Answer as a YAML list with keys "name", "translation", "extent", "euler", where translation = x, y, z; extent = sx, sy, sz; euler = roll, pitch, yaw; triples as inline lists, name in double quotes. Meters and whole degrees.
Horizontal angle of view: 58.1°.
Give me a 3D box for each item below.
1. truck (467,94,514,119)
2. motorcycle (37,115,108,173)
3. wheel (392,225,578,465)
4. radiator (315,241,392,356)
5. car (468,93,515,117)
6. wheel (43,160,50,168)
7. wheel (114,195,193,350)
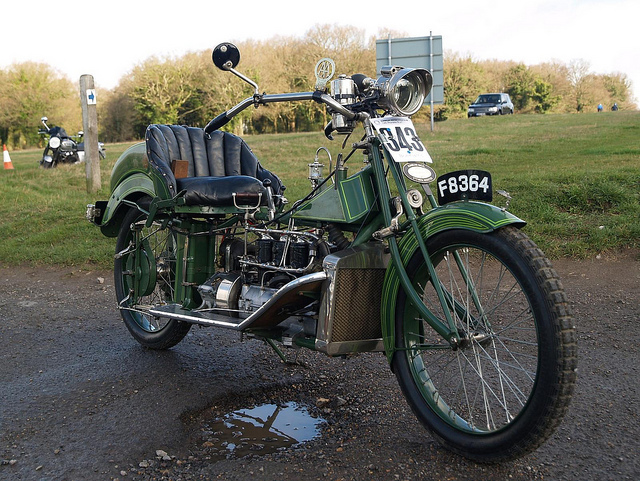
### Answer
- name: "truck"
  translation: [8.991, -6.887, 29.977]
  extent: [1.874, 1.406, 2.918]
  euler: [2, 4, 38]
- name: "motorcycle"
  translation: [-7.460, -2.785, 17.231]
  extent: [1.359, 1.554, 2.507]
  euler: [11, 15, 16]
- name: "wheel"
  translation: [1.038, 0.728, 3.751]
  extent: [0.266, 1.372, 1.202]
  euler: [-5, 12, -38]
- name: "radiator"
  translation: [0.239, 0.399, 3.896]
  extent: [0.203, 0.804, 0.709]
  euler: [9, 7, 43]
- name: "car"
  translation: [8.878, -6.893, 29.729]
  extent: [1.529, 1.208, 2.377]
  euler: [1, 4, 38]
- name: "wheel"
  translation: [-7.988, -2.209, 16.835]
  extent: [0.177, 0.193, 0.185]
  euler: [2, -5, 0]
- name: "wheel"
  translation: [-1.473, 0.277, 5.144]
  extent: [0.411, 1.348, 1.117]
  euler: [5, 3, -43]
